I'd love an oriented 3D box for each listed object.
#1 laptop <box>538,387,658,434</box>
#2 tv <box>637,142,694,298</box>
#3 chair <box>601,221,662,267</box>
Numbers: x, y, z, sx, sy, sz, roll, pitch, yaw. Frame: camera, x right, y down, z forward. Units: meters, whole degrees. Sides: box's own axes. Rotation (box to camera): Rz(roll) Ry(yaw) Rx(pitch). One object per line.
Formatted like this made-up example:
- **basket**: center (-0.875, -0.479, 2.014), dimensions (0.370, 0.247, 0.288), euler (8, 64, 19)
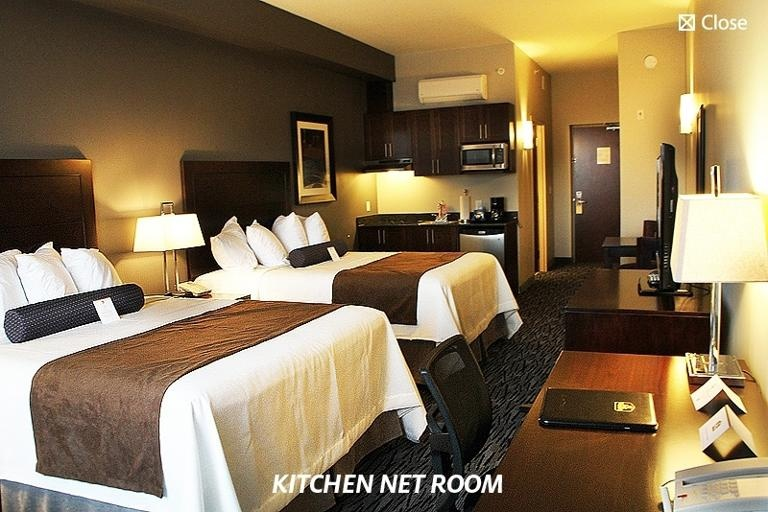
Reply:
- **laptop**: center (0.882, 0.652, 2.050), dimensions (0.323, 0.056, 0.549), euler (-4, -4, 4)
- **tv**: center (2.066, -0.252, 3.685), dimensions (0.355, 0.986, 1.069), euler (1, 6, 29)
- **chair**: center (3.161, -0.144, 6.329), dimensions (0.602, 0.803, 0.869), euler (1, 3, 23)
